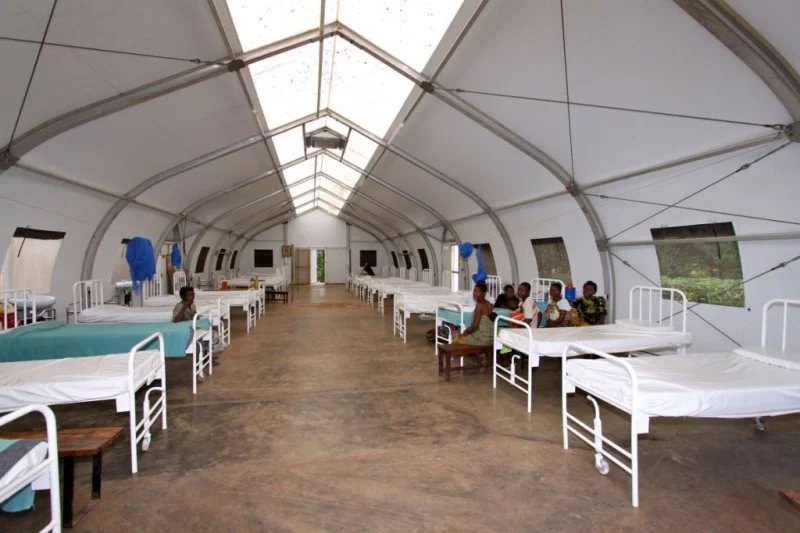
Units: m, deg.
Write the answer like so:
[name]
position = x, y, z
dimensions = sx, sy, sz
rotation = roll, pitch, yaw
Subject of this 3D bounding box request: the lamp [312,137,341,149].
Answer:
[lamp]
position = -2.074, -3.593, 13.757
dimensions = 0.982, 0.215, 0.593
rotation = -1, -2, -13
